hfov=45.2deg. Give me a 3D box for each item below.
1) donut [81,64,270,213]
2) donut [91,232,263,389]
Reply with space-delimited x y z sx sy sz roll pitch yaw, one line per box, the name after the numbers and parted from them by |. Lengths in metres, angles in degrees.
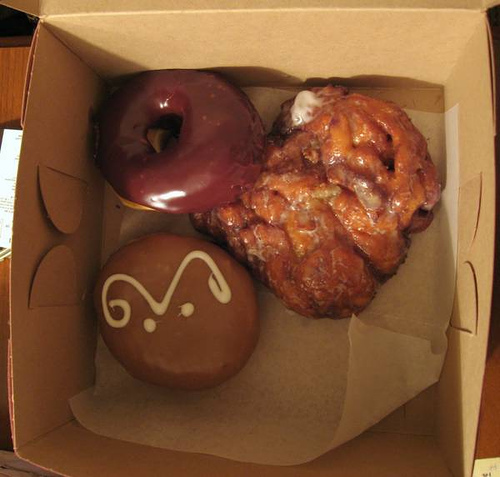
-0.194 -0.256 1.638 0.490 0.216 0.376 0 80 4 | donut
-0.204 0.186 1.624 0.452 0.114 0.416 4 81 4 | donut
